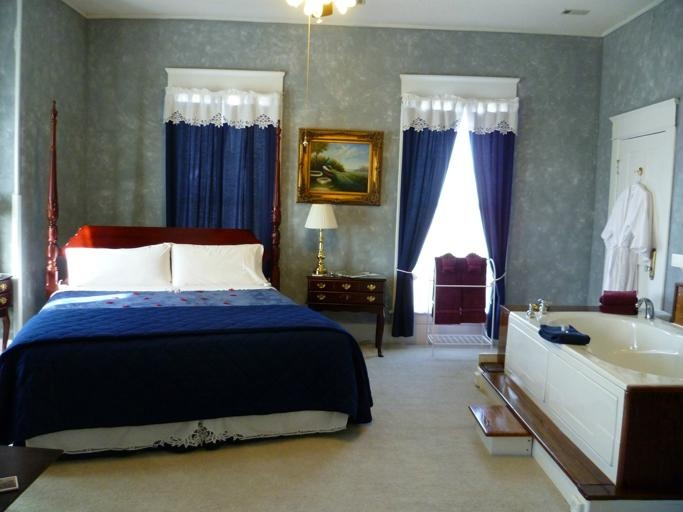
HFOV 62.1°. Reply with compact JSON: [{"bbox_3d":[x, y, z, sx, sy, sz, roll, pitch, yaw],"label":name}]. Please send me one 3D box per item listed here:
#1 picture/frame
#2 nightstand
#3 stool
[{"bbox_3d":[-0.028,-1.060,6.502,0.899,0.845,0.076,1,6,-4],"label":"picture/frame"},{"bbox_3d":[0.055,0.828,6.588,1.196,1.183,0.759,0,-1,-2],"label":"nightstand"},{"bbox_3d":[1.251,1.341,4.357,0.260,0.142,0.403,-3,8,-6],"label":"stool"}]
